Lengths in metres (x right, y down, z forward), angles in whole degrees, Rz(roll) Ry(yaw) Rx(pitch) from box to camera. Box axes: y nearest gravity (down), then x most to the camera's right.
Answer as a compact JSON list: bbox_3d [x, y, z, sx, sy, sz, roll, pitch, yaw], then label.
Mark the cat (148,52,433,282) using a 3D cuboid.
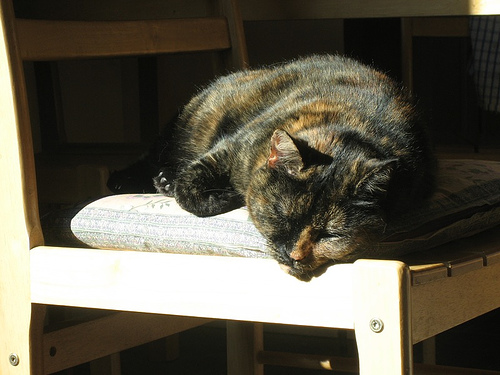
[{"bbox_3d":[0.047,-0.040,0.787,0.351,0.180,0.492,6,26,-18],"label":"cat"}]
